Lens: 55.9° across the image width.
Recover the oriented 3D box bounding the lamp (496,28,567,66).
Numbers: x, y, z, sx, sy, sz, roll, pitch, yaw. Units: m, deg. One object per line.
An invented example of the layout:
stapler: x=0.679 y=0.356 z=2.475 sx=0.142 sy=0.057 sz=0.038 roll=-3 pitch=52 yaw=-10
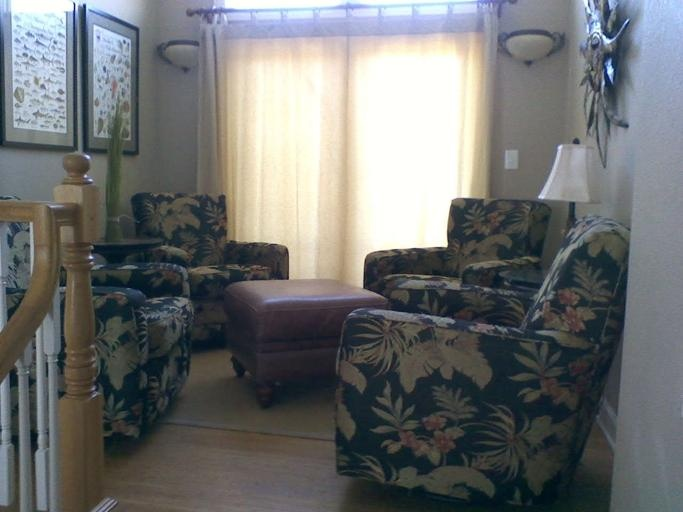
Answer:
lamp: x=1.275 y=-1.415 z=4.401 sx=0.292 sy=0.146 sz=0.294 roll=0 pitch=1 yaw=0

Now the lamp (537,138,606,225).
lamp: x=1.223 y=-0.370 z=3.325 sx=0.285 sy=0.454 sz=0.452 roll=11 pitch=17 yaw=35

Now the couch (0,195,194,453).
couch: x=-1.040 y=0.318 z=2.802 sx=0.750 sy=0.887 sz=0.862 roll=-3 pitch=14 yaw=-14

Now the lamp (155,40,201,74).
lamp: x=-1.230 y=-1.510 z=4.872 sx=0.386 sy=0.239 sz=0.212 roll=2 pitch=14 yaw=7
